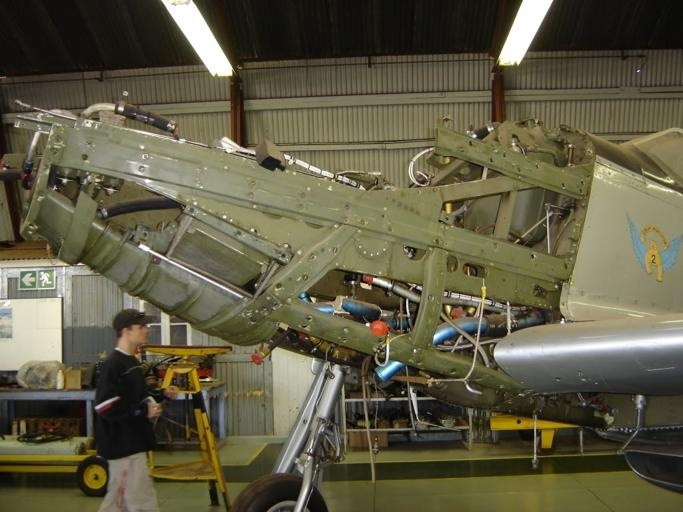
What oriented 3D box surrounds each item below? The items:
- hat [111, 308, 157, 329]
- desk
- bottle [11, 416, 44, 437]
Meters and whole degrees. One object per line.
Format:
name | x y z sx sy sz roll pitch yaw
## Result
hat | -1.982 0.593 6.253 0.327 0.135 0.204 -5 5 -15
desk | -2.643 2.519 10.315 1.285 1.094 1.202 8 -15 -11
bottle | -4.752 2.571 10.051 0.550 0.273 0.354 4 -3 -27
